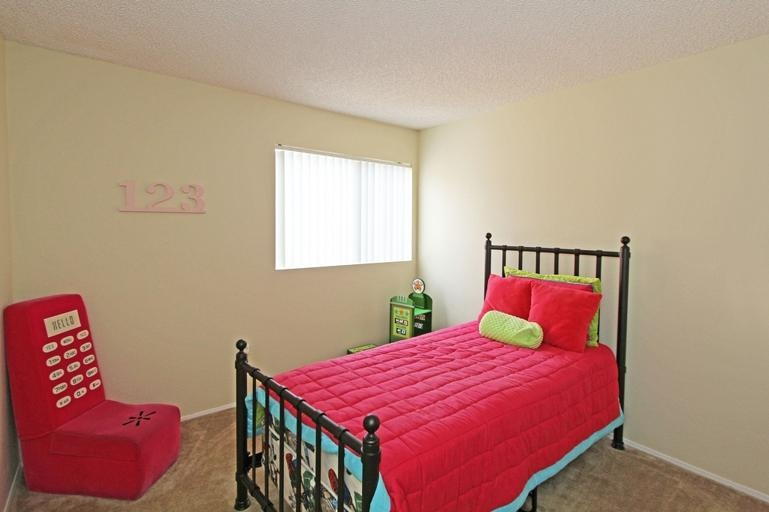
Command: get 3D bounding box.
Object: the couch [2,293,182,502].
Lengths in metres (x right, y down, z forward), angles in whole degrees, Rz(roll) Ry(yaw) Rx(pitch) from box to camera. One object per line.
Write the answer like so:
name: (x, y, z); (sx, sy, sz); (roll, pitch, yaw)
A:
couch: (-2.264, 1.071, 4.150); (1.150, 1.484, 0.445); (0, 7, 6)

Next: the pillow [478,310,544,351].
pillow: (1.081, 0.646, 4.624); (0.264, 0.165, 0.417); (-1, 3, -40)

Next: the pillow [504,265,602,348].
pillow: (1.542, 0.451, 4.650); (0.673, 0.655, 0.292); (1, -17, 45)

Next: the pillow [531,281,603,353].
pillow: (1.524, 0.530, 4.516); (0.541, 0.474, 0.283); (6, 10, 42)
